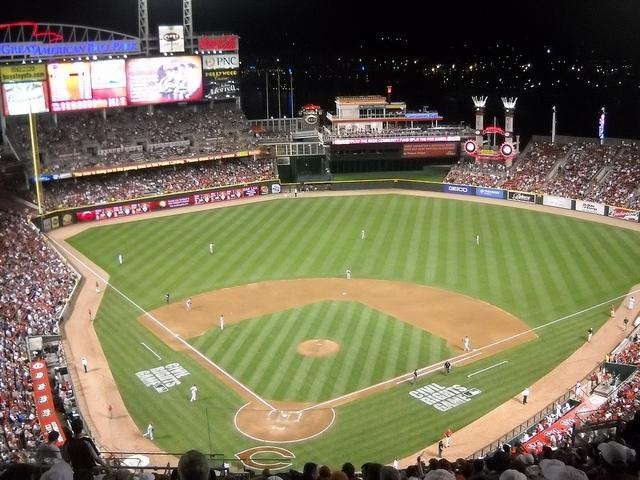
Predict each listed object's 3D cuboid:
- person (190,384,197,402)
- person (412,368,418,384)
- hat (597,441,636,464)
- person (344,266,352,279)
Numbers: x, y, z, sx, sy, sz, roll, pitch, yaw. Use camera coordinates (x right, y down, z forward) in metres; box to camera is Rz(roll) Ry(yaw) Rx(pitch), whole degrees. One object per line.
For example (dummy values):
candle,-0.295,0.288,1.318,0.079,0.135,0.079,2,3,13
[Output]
person,-7.427,8.918,33.968,0.425,0.919,1.109,-4,14,-13
person,5.822,8.147,35.109,0.380,0.787,1.220,2,14,9
hat,4.923,3.533,9.543,0.559,0.313,0.283,-1,14,-1
person,2.441,2.902,49.713,0.898,1.027,0.331,0,-3,-2
